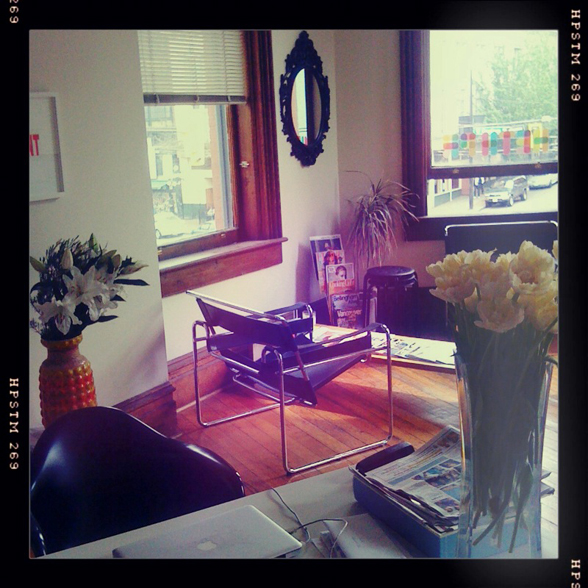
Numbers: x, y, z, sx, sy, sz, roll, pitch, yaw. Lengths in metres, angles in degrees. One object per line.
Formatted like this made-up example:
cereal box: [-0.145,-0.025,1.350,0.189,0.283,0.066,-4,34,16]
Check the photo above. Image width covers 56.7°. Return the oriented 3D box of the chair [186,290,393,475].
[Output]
chair: [-0.021,0.259,2.082,0.600,0.656,0.549,-8,13,-37]

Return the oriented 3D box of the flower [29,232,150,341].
flower: [-0.571,-0.023,1.459,0.269,0.263,0.369,-10,11,-29]

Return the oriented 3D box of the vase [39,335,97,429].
vase: [-0.613,0.233,1.476,0.123,0.287,0.139,0,21,-8]

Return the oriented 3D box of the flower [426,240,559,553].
flower: [0.212,0.118,0.584,0.130,0.346,0.082,-1,9,17]

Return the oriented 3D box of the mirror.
mirror: [0.043,-1.043,2.873,0.026,0.942,0.638,2,8,22]
